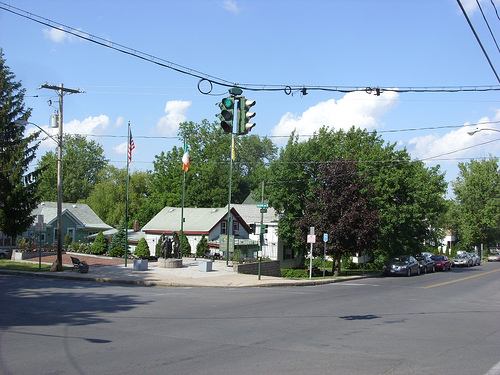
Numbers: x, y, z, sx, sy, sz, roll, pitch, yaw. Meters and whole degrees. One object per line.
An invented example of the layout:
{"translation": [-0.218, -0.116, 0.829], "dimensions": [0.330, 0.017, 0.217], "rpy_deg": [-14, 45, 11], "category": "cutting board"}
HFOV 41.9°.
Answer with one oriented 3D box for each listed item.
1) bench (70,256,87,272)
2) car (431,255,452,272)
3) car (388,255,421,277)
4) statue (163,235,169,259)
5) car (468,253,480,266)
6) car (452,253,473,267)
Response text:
{"translation": [-11.314, 4.998, 42.821], "dimensions": [0.756, 1.106, 0.734], "rpy_deg": [-3, 1, -16], "category": "bench"}
{"translation": [18.001, 7.167, 61.647], "dimensions": [1.474, 1.179, 3.462], "rpy_deg": [-2, -9, 20], "category": "car"}
{"translation": [11.858, 6.113, 50.689], "dimensions": [1.382, 1.689, 3.310], "rpy_deg": [-10, -15, 37], "category": "car"}
{"translation": [-6.162, 4.395, 47.954], "dimensions": [0.430, 1.698, 0.924], "rpy_deg": [1, -11, -8], "category": "statue"}
{"translation": [26.435, 8.360, 76.516], "dimensions": [1.071, 0.908, 2.359], "rpy_deg": [-1, -9, 8], "category": "car"}
{"translation": [23.810, 8.138, 73.334], "dimensions": [1.777, 1.582, 2.490], "rpy_deg": [-7, -14, 27], "category": "car"}
